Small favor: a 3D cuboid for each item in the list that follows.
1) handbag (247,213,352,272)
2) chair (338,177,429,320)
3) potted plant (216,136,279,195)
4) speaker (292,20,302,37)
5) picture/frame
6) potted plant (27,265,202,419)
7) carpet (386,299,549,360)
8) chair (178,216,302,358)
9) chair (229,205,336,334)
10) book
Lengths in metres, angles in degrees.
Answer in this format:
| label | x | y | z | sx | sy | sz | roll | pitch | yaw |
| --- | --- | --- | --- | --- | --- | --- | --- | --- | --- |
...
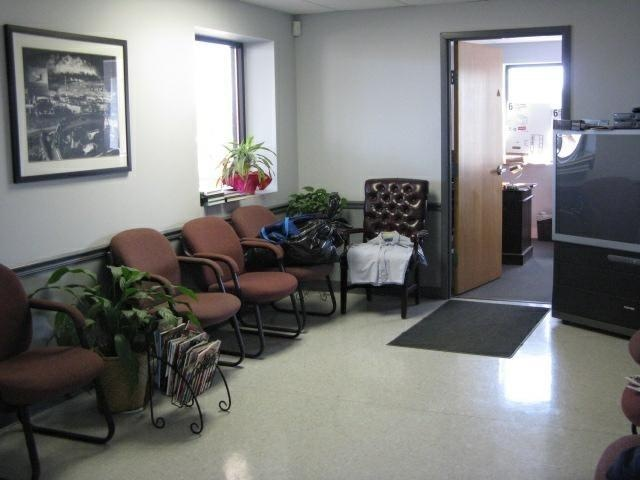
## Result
| label | x | y | z | sx | sy | sz | roll | pitch | yaw |
| --- | --- | --- | --- | --- | --- | --- | --- | --- | --- |
| handbag | -0.168 | -0.049 | 4.450 | 0.790 | 0.355 | 0.599 | 16 | 6 | -32 |
| chair | 0.651 | 0.038 | 4.664 | 0.777 | 1.338 | 0.928 | 1 | 3 | 12 |
| potted plant | -0.762 | -0.735 | 4.883 | 0.577 | 0.539 | 0.596 | 7 | 11 | 39 |
| speaker | -0.249 | -2.348 | 5.185 | 0.109 | 0.166 | 0.073 | -2 | 10 | -4 |
| picture/frame | -1.663 | -0.896 | 3.030 | 0.038 | 1.137 | 1.073 | 3 | 6 | 29 |
| potted plant | -1.275 | 0.542 | 2.996 | 0.773 | 0.586 | 0.823 | 4 | 8 | 19 |
| carpet | 1.406 | 0.790 | 4.249 | 0.937 | 0.020 | 1.609 | 8 | 15 | 39 |
| chair | -0.722 | 0.332 | 4.137 | 1.096 | 1.364 | 0.901 | 5 | 11 | 30 |
| chair | -0.516 | 0.234 | 4.340 | 0.592 | 0.883 | 0.756 | -5 | 29 | -20 |
| book | -0.848 | 0.758 | 2.926 | 0.349 | 0.429 | 0.327 | 6 | 13 | 34 |
